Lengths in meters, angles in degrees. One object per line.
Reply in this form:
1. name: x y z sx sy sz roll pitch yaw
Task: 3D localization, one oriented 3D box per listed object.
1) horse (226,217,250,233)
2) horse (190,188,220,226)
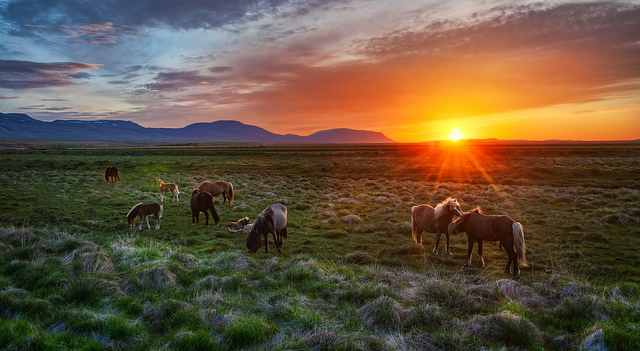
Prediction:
1. horse: -6.470 4.001 27.225 2.091 0.787 0.738 -4 4 -40
2. horse: -9.745 2.772 28.471 3.099 2.717 1.409 11 19 36
